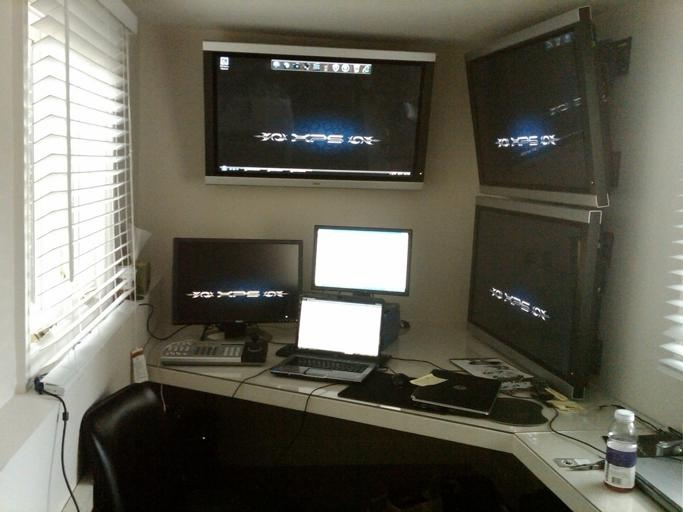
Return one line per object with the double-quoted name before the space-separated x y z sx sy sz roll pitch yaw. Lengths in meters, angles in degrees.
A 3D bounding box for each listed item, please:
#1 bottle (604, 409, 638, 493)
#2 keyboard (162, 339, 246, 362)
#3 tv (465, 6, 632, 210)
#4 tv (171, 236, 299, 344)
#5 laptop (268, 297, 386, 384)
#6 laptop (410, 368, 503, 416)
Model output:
"bottle" 1.003 0.679 2.030 0.104 0.264 0.159 4 8 28
"keyboard" -0.675 0.467 2.768 0.279 0.043 0.154 1 12 -5
"tv" 0.966 -0.689 2.581 0.315 0.761 0.898 -11 4 -16
"tv" -0.564 0.171 3.021 0.548 0.407 0.089 0 -3 -4
"laptop" -0.031 0.310 2.722 0.425 0.278 0.388 3 13 15
"laptop" 0.501 0.600 2.480 0.222 0.030 0.303 -16 19 -36
